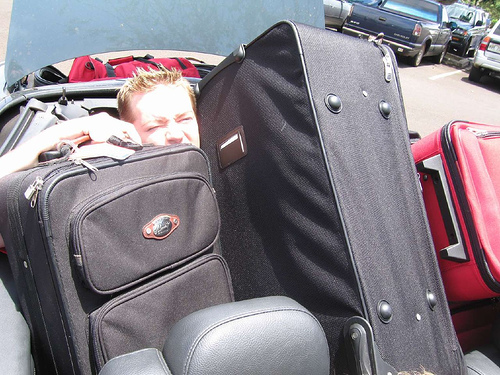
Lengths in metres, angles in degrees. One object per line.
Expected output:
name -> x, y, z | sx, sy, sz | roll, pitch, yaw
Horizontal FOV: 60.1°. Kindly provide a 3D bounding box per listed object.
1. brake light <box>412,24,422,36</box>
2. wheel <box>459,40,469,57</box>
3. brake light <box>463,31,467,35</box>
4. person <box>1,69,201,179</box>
brake light -> 3.176, -2.953, 8.150 | 0.142, 0.209, 0.049 | 7, 5, -40
wheel -> 5.829, -3.728, 11.696 | 0.074, 0.322, 0.312 | 25, 20, 28
brake light -> 5.728, -4.063, 11.413 | 0.053, 0.101, 0.057 | -5, -3, -15
person -> -0.536, -0.251, 1.646 | 0.726, 0.296, 0.424 | -19, 38, -32
